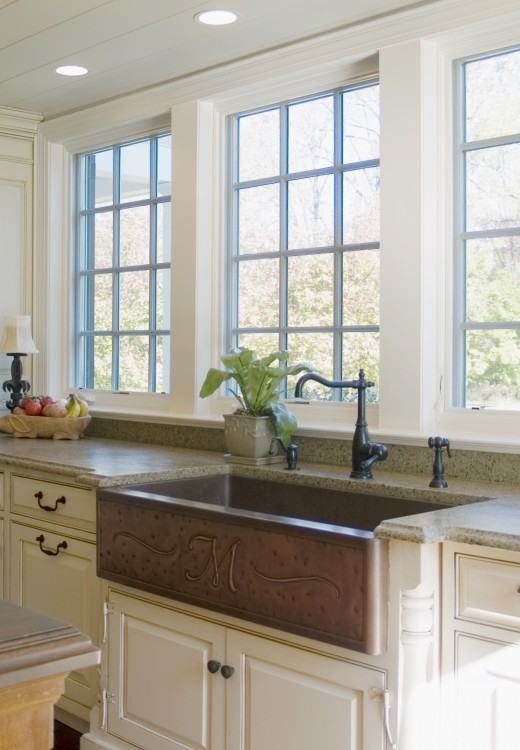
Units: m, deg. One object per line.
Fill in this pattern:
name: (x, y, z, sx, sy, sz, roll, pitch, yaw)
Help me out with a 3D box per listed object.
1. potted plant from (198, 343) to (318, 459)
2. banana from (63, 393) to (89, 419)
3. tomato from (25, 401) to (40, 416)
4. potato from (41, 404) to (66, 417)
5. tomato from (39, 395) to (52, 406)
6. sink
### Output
potted plant: (-0.027, 0.095, 2.155, 0.390, 0.355, 0.137, 1, 2, 31)
banana: (-0.798, 0.136, 2.891, 0.112, 0.149, 0.100, -3, 2, 2)
tomato: (-0.986, 0.144, 2.862, 0.064, 0.061, 0.063, -1, 3, -1)
potato: (-0.891, 0.157, 2.836, 0.066, 0.023, 0.064, 3, 23, -4)
tomato: (-0.954, 0.118, 2.918, 0.044, 0.039, 0.043, 5, 19, 29)
sink: (0.036, 0.422, 1.676, 0.475, 0.305, 0.958, -2, 3, -45)
